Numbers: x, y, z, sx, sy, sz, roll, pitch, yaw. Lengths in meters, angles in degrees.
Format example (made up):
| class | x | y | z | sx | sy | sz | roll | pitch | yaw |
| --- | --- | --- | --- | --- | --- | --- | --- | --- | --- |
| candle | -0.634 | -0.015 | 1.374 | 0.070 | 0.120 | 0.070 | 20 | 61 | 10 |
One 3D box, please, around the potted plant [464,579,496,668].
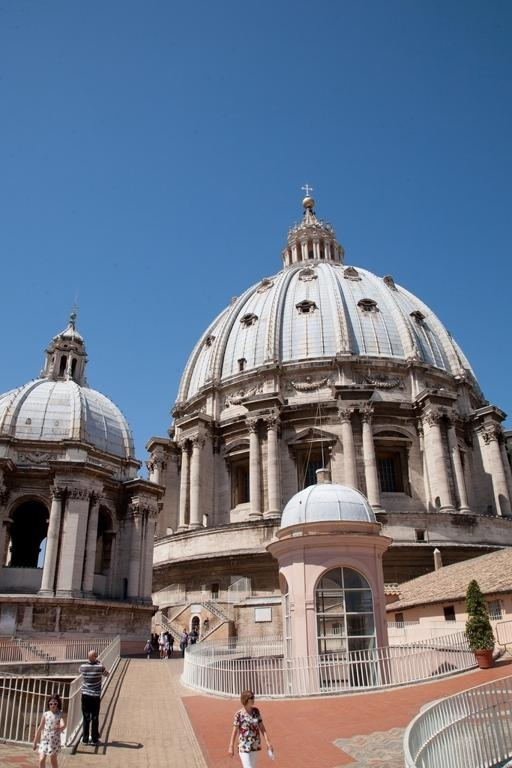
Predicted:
| class | x | y | z | sx | sy | sz | roll | pitch | yaw |
| --- | --- | --- | --- | --- | --- | --- | --- | --- | --- |
| potted plant | 7.954 | 8.715 | 21.619 | 0.872 | 2.821 | 1.195 | -11 | -29 | 15 |
